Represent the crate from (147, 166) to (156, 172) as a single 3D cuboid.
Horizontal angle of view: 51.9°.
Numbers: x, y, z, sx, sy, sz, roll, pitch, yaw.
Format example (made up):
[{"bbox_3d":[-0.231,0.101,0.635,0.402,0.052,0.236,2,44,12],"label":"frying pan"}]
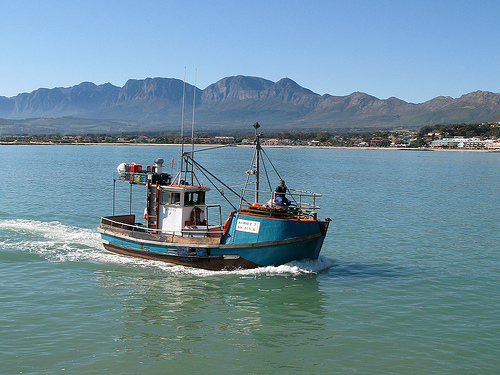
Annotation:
[{"bbox_3d":[-6.104,-1.103,30.746,0.759,0.374,0.418,-2,-4,42],"label":"crate"}]
